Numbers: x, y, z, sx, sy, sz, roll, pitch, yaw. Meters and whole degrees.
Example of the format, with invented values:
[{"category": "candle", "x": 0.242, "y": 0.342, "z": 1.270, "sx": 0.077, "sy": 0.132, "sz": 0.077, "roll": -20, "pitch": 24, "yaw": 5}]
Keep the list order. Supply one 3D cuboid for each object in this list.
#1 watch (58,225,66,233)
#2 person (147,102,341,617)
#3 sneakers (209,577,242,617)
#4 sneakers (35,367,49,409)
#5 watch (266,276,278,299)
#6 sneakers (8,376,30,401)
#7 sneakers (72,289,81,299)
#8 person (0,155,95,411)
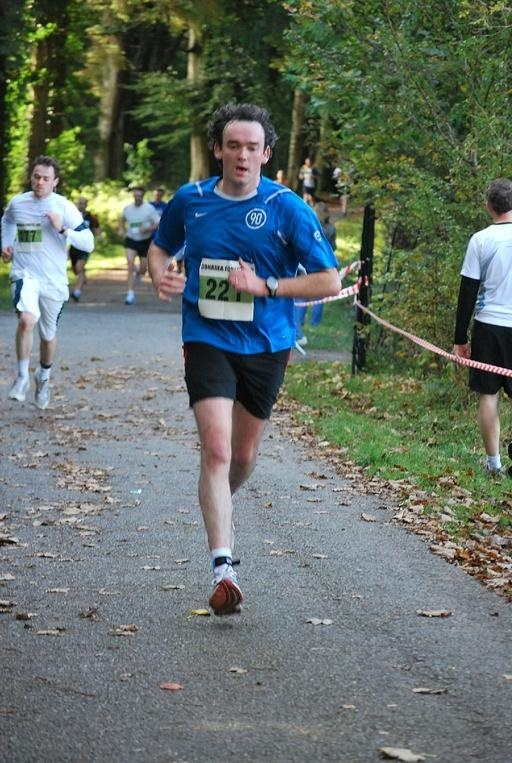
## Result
[{"category": "watch", "x": -1.732, "y": -1.335, "z": 7.768, "sx": 0.067, "sy": 0.042, "sz": 0.068, "roll": 0, "pitch": 35, "yaw": 0}, {"category": "person", "x": -0.020, "y": -0.117, "z": 3.663, "sx": 0.663, "sy": 2.058, "sz": 0.754, "roll": 0, "pitch": 7, "yaw": -33}, {"category": "sneakers", "x": -0.119, "y": 0.827, "z": 3.354, "sx": 0.118, "sy": 0.175, "sz": 0.119, "roll": 3, "pitch": 6, "yaw": -3}, {"category": "sneakers", "x": -1.975, "y": 0.061, "z": 8.062, "sx": 0.146, "sy": 0.383, "sz": 0.173, "roll": 0, "pitch": 13, "yaw": -10}, {"category": "watch", "x": 0.062, "y": -0.380, "z": 3.528, "sx": 0.052, "sy": 0.074, "sz": 0.073, "roll": 2, "pitch": 35, "yaw": 1}, {"category": "sneakers", "x": -2.117, "y": 0.065, "z": 7.753, "sx": 0.143, "sy": 0.197, "sz": 0.166, "roll": 3, "pitch": 6, "yaw": -2}, {"category": "sneakers", "x": -3.489, "y": -1.638, "z": 16.896, "sx": 0.137, "sy": 0.095, "sz": 0.286, "roll": -24, "pitch": -18, "yaw": -16}, {"category": "person", "x": -2.030, "y": -0.762, "z": 7.922, "sx": 0.777, "sy": 2.060, "sz": 0.861, "roll": 5, "pitch": 6, "yaw": 15}]
